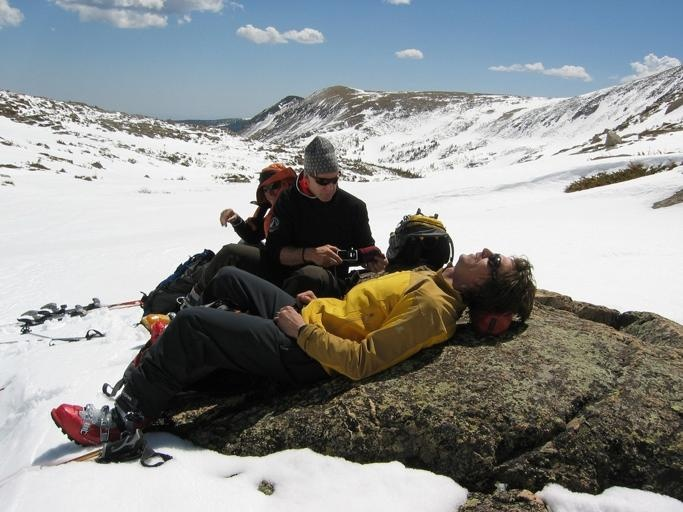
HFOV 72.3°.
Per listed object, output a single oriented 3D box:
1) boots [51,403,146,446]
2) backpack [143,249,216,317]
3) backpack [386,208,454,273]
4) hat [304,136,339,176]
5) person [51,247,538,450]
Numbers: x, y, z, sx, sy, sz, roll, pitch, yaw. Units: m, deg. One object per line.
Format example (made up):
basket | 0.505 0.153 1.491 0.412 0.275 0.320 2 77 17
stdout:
boots | -1.713 1.154 3.258 0.699 0.231 0.270 5 -34 -20
backpack | -1.824 0.353 5.255 0.954 0.384 0.560 -38 -6 -13
backpack | 0.717 -0.155 4.398 0.513 0.517 0.597 14 -12 -14
hat | -0.193 -0.969 4.507 0.327 0.374 0.275 0 15 -5
person | -0.281 0.603 3.562 3.419 1.302 0.716 0 16 -7
